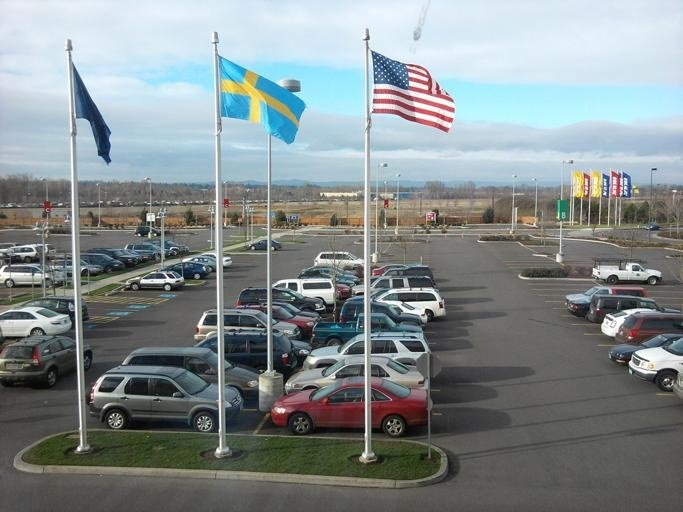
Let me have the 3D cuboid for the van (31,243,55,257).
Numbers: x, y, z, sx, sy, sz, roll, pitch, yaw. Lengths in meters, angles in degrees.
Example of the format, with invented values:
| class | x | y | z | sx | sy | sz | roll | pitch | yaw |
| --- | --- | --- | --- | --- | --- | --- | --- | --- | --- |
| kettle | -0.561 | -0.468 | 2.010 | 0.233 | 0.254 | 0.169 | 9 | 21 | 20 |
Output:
| class | x | y | z | sx | sy | sz | roll | pitch | yaw |
| --- | --- | --- | --- | --- | --- | --- | --- | --- | --- |
| van | -24.484 | -0.405 | 57.758 | 2.216 | 0.988 | 1.247 | 3 | 6 | 0 |

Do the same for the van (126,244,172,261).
| class | x | y | z | sx | sy | sz | roll | pitch | yaw |
| --- | --- | --- | --- | --- | --- | --- | --- | --- | --- |
| van | -17.195 | -0.250 | 61.493 | 3.442 | 1.248 | 1.500 | 0 | 7 | 1 |

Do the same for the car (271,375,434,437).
| class | x | y | z | sx | sy | sz | roll | pitch | yaw |
| --- | --- | --- | --- | --- | --- | --- | --- | --- | --- |
| car | 0.301 | 4.944 | 22.844 | 4.810 | 1.406 | 1.984 | 2 | 0 | 4 |

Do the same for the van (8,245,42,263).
| class | x | y | z | sx | sy | sz | roll | pitch | yaw |
| --- | --- | --- | --- | --- | --- | --- | --- | --- | --- |
| van | -25.602 | -0.078 | 57.080 | 2.592 | 0.859 | 1.149 | 5 | 9 | 13 |

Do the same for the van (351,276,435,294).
| class | x | y | z | sx | sy | sz | roll | pitch | yaw |
| --- | --- | --- | --- | --- | --- | --- | --- | --- | --- |
| van | 2.781 | 1.973 | 39.669 | 4.540 | 1.506 | 1.599 | 1 | 3 | 9 |

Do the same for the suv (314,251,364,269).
| class | x | y | z | sx | sy | sz | roll | pitch | yaw |
| --- | --- | --- | --- | --- | --- | --- | --- | --- | --- |
| suv | -0.353 | 0.457 | 53.615 | 3.336 | 1.138 | 1.553 | -1 | 7 | 1 |

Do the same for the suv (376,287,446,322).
| class | x | y | z | sx | sy | sz | roll | pitch | yaw |
| --- | --- | --- | --- | --- | --- | --- | --- | --- | --- |
| suv | 3.511 | 2.450 | 35.848 | 3.406 | 1.165 | 1.476 | 1 | 2 | -2 |

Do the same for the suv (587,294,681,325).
| class | x | y | z | sx | sy | sz | roll | pitch | yaw |
| --- | --- | --- | --- | --- | --- | --- | --- | --- | --- |
| suv | 13.671 | 2.502 | 33.897 | 3.298 | 1.193 | 1.545 | -3 | 7 | -1 |

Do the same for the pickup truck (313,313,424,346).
| class | x | y | z | sx | sy | sz | roll | pitch | yaw |
| --- | --- | --- | --- | --- | --- | --- | --- | --- | --- |
| pickup truck | 1.259 | 3.356 | 30.931 | 5.042 | 1.693 | 1.894 | 0 | 6 | 4 |

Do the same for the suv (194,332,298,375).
| class | x | y | z | sx | sy | sz | roll | pitch | yaw |
| --- | --- | --- | --- | --- | --- | --- | --- | --- | --- |
| suv | -3.639 | 3.722 | 26.923 | 3.687 | 1.421 | 1.631 | 2 | 3 | 3 |

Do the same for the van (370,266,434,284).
| class | x | y | z | sx | sy | sz | roll | pitch | yaw |
| --- | --- | --- | --- | --- | --- | --- | --- | --- | --- |
| van | 4.088 | 1.298 | 43.888 | 2.817 | 1.004 | 1.317 | 1 | 1 | -1 |

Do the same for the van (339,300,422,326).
| class | x | y | z | sx | sy | sz | roll | pitch | yaw |
| --- | --- | --- | --- | --- | --- | --- | --- | --- | --- |
| van | 1.713 | 2.649 | 32.691 | 3.279 | 1.338 | 1.475 | -1 | 4 | 8 |

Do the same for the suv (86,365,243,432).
| class | x | y | z | sx | sy | sz | roll | pitch | yaw |
| --- | --- | --- | --- | --- | --- | --- | --- | --- | --- |
| suv | -5.891 | 4.694 | 23.830 | 5.051 | 1.854 | 2.389 | 0 | 0 | 3 |

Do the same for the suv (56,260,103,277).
| class | x | y | z | sx | sy | sz | roll | pitch | yaw |
| --- | --- | --- | --- | --- | --- | --- | --- | --- | --- |
| suv | -16.667 | 0.846 | 44.638 | 2.750 | 0.914 | 1.340 | 0 | 5 | -3 |

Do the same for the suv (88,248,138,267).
| class | x | y | z | sx | sy | sz | roll | pitch | yaw |
| --- | --- | --- | --- | --- | --- | --- | --- | --- | --- |
| suv | -18.331 | 0.251 | 56.703 | 3.536 | 1.165 | 1.540 | 2 | 10 | -2 |

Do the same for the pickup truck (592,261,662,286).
| class | x | y | z | sx | sy | sz | roll | pitch | yaw |
| --- | --- | --- | --- | --- | --- | --- | --- | --- | --- |
| pickup truck | 19.075 | 1.200 | 47.305 | 4.634 | 1.623 | 2.176 | -2 | 8 | 8 |

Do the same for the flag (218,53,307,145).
| class | x | y | z | sx | sy | sz | roll | pitch | yaw |
| --- | --- | --- | --- | --- | --- | --- | --- | --- | --- |
| flag | -2.439 | -4.582 | 20.858 | 2.290 | 2.459 | 0.489 | -2 | 6 | -9 |
